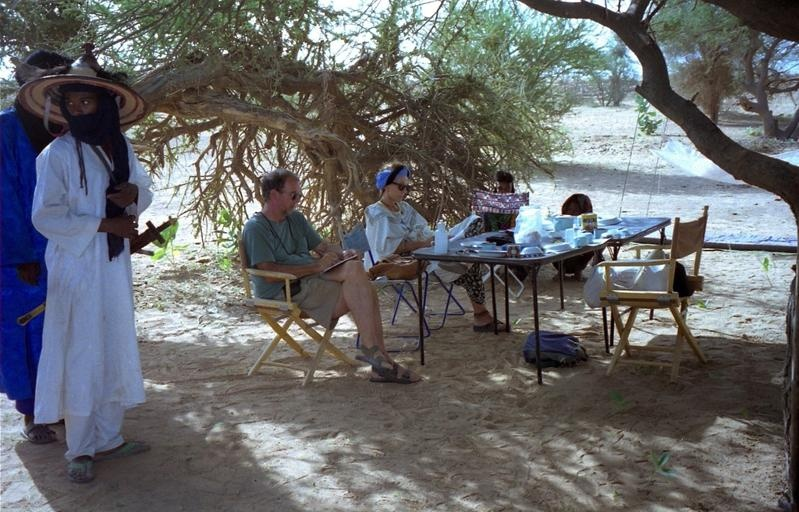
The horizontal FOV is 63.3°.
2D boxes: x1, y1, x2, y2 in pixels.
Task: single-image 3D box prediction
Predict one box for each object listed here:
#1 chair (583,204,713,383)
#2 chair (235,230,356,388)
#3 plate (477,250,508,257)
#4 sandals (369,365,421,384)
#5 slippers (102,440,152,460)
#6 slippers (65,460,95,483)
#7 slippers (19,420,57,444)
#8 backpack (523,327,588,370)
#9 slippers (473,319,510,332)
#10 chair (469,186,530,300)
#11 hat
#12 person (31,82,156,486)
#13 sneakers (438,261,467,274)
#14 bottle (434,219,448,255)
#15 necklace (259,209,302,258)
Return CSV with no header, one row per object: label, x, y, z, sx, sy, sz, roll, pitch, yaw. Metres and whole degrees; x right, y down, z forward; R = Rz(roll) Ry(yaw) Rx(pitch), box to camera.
chair,2.597,0.292,6.888,1.660,2.091,1.837,2,5,26
chair,-1.208,0.473,7.022,1.571,1.706,1.370,1,6,9
plate,0.878,-0.021,6.104,0.254,0.044,0.255,-2,5,5
sandals,-0.036,1.136,6.206,0.492,0.149,0.170,0,6,0
slippers,-2.127,1.514,5.064,0.352,0.118,0.111,-10,16,-28
slippers,-2.349,1.580,4.794,0.144,0.134,0.220,2,1,-3
slippers,-2.944,1.444,5.318,0.318,0.112,0.145,3,5,23
backpack,1.548,0.881,6.603,0.719,0.196,0.675,3,20,41
slippers,1.031,0.783,7.298,0.359,0.083,0.135,-4,0,25
chair,1.385,-0.206,8.977,1.123,1.308,1.036,8,5,-1
hat,-2.401,-1.227,5.068,0.852,0.460,0.762,4,-31,-3
person,-2.326,0.196,4.875,0.925,2.915,0.458,-7,8,-29
sneakers,0.589,0.109,7.222,0.312,0.142,0.219,7,0,-17
bottle,0.406,-0.187,6.354,0.134,0.303,0.294,-2,6,3
necklace,-1.171,-0.210,6.374,0.242,0.409,0.122,-29,4,-37
